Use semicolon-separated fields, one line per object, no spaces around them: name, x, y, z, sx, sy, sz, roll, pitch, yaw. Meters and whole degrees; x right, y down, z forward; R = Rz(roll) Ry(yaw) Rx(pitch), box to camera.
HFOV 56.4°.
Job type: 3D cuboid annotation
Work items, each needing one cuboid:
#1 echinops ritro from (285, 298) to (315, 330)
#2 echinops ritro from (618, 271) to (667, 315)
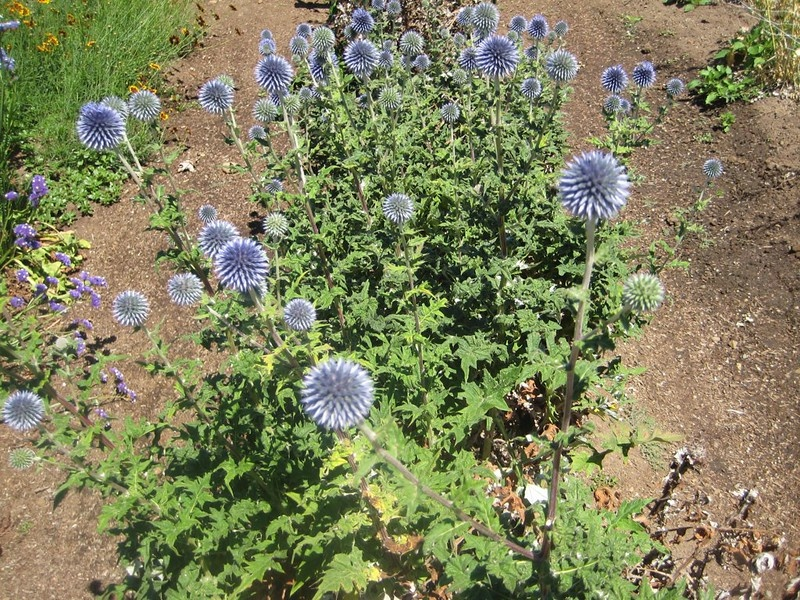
echinops ritro;-1.165;0.168;8.688;0.325;0.339;0.343;26;86;-15
echinops ritro;2.640;-0.088;8.182;0.445;0.461;0.460;42;92;20
